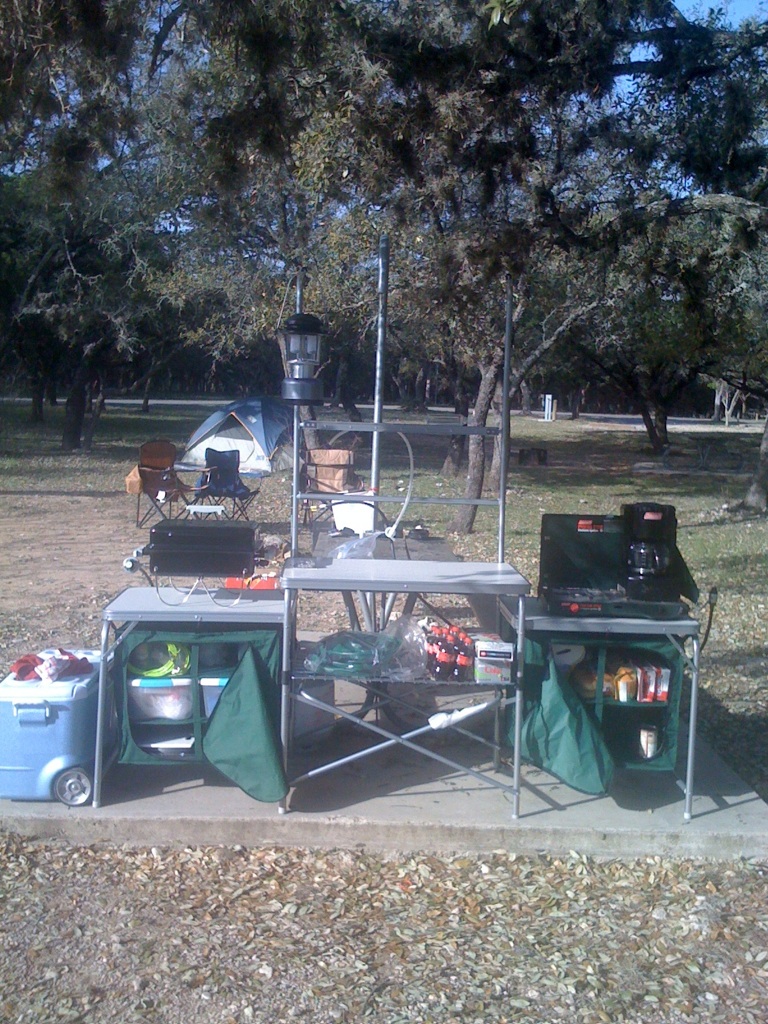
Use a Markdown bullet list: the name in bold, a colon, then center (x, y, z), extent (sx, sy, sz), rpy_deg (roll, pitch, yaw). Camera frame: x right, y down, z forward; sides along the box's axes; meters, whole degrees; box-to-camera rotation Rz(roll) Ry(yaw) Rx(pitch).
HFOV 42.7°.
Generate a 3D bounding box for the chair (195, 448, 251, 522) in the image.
- **chair**: center (-2.097, -0.297, 12.473), extent (0.626, 0.909, 0.648), rpy_deg (1, -6, -5)

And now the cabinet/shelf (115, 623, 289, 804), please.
- **cabinet/shelf**: center (-0.609, 0.702, 3.767), extent (0.791, 0.721, 0.609), rpy_deg (1, 1, -3)

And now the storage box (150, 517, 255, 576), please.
- **storage box**: center (-0.722, 0.147, 3.870), extent (0.405, 0.192, 0.182), rpy_deg (0, 7, -14)

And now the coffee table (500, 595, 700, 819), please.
- **coffee table**: center (0.780, 0.615, 3.845), extent (0.953, 0.893, 0.716), rpy_deg (0, 0, -4)

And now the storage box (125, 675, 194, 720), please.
- **storage box**: center (-0.837, 0.680, 3.667), extent (0.207, 0.091, 0.156), rpy_deg (0, 3, 13)

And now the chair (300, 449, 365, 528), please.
- **chair**: center (-0.699, -0.388, 12.010), extent (0.811, 1.065, 1.082), rpy_deg (0, -3, 0)

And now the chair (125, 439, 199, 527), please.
- **chair**: center (-2.759, -0.396, 11.861), extent (0.706, 1.002, 0.763), rpy_deg (-1, -3, -21)

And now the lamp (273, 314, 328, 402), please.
- **lamp**: center (-0.359, -0.666, 4.234), extent (0.197, 0.396, 0.496), rpy_deg (1, 7, -6)

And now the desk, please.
- **desk**: center (0.077, 0.639, 3.893), extent (0.909, 0.905, 0.825), rpy_deg (2, 7, 1)

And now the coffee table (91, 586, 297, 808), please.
- **coffee table**: center (-0.673, 0.640, 3.789), extent (0.921, 0.847, 0.691), rpy_deg (1, 6, -2)
